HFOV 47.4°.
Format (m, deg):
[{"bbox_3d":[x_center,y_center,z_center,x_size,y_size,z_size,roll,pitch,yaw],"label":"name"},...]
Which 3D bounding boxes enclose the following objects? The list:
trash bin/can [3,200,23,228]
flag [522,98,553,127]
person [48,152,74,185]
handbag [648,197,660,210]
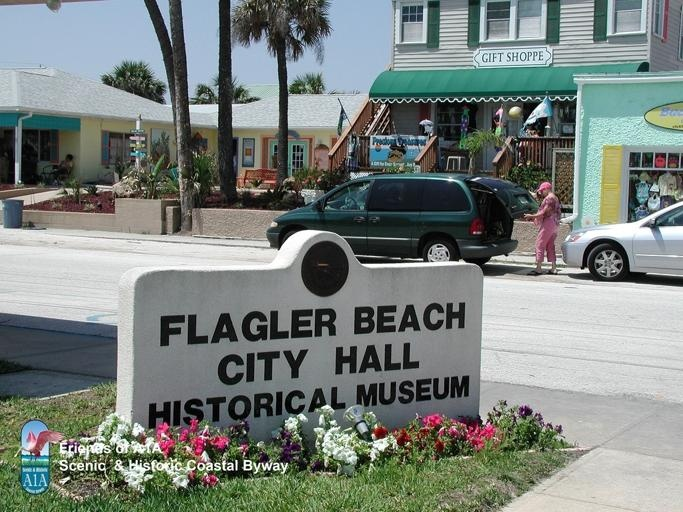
[{"bbox_3d":[-11.538,-1.466,27.799,0.753,1.258,0.826,0,0,-11],"label":"trash bin/can"},{"bbox_3d":[6.812,-4.949,27.023,1.053,1.335,0.129,2,1,43],"label":"flag"},{"bbox_3d":[-13.322,-4.056,36.804,1.173,1.853,1.141,3,1,-12],"label":"person"},{"bbox_3d":[8.032,-1.338,20.094,0.203,0.355,0.311,3,-22,23],"label":"handbag"}]
